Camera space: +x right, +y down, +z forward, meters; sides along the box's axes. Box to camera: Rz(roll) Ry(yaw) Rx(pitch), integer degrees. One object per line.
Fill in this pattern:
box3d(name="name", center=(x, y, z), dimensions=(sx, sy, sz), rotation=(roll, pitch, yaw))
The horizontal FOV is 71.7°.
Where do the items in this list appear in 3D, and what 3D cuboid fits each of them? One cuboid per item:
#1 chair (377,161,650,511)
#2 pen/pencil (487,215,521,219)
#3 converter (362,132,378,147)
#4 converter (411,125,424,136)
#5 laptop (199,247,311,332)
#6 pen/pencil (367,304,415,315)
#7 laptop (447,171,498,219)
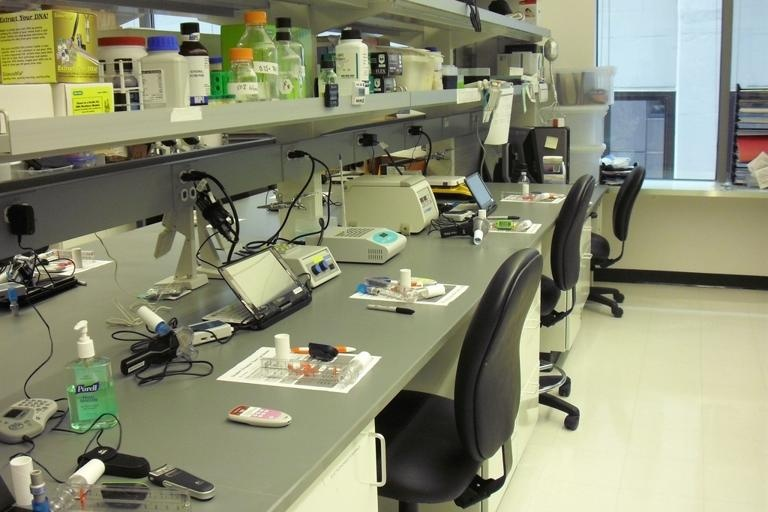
box3d(name="chair", center=(0.629, 0.377, 2.527), dimensions=(0.667, 0.864, 1.718), rotation=(3, 21, 19))
box3d(name="pen/pencil", center=(0.724, -0.232, 3.206), dimensions=(0.216, 0.022, 0.024), rotation=(2, -7, 16))
box3d(name="converter", center=(-0.079, -0.643, 2.941), dimensions=(0.081, 0.056, 0.080), rotation=(2, 11, 11))
box3d(name="converter", center=(0.209, -0.804, 3.413), dimensions=(0.073, 0.027, 0.101), rotation=(1, 6, 12))
box3d(name="laptop", center=(-0.451, 0.067, 1.900), dimensions=(0.270, 0.207, 0.353), rotation=(0, 14, 17))
box3d(name="pen/pencil", center=(0.025, 0.199, 1.950), dimensions=(0.136, 0.021, 0.022), rotation=(2, 7, 22))
box3d(name="laptop", center=(0.571, -0.320, 3.384), dimensions=(0.240, 0.302, 0.447), rotation=(0, 15, 20))
